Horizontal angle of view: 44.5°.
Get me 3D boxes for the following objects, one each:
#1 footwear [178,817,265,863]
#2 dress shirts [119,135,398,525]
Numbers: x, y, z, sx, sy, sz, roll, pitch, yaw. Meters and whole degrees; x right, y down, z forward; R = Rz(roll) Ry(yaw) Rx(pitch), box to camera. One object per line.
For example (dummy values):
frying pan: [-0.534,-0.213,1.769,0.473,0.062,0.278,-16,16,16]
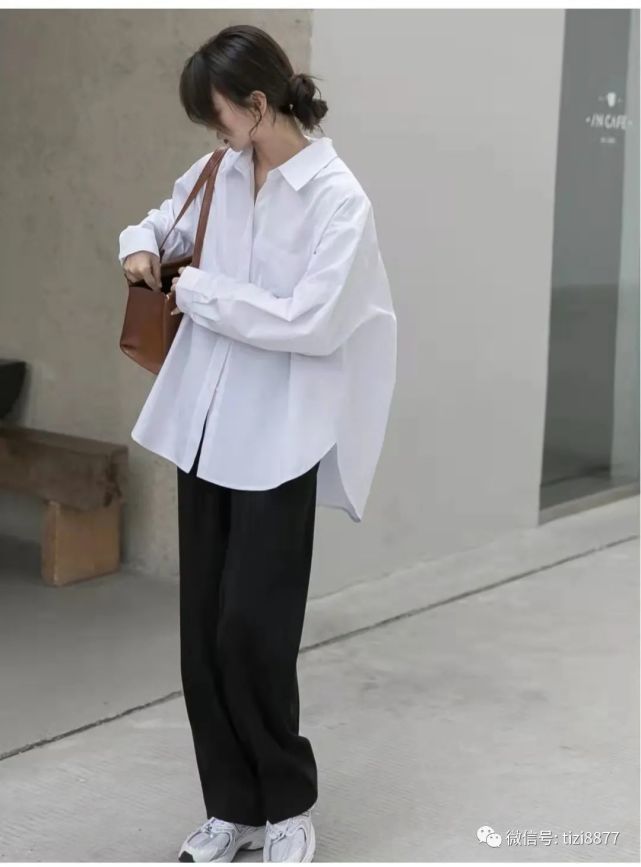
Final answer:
footwear: [-0.173,0.696,1.340,0.063,0.078,0.164,-9,-22,43]
dress shirts: [-0.114,-0.152,1.302,0.471,0.628,0.349,1,8,5]
